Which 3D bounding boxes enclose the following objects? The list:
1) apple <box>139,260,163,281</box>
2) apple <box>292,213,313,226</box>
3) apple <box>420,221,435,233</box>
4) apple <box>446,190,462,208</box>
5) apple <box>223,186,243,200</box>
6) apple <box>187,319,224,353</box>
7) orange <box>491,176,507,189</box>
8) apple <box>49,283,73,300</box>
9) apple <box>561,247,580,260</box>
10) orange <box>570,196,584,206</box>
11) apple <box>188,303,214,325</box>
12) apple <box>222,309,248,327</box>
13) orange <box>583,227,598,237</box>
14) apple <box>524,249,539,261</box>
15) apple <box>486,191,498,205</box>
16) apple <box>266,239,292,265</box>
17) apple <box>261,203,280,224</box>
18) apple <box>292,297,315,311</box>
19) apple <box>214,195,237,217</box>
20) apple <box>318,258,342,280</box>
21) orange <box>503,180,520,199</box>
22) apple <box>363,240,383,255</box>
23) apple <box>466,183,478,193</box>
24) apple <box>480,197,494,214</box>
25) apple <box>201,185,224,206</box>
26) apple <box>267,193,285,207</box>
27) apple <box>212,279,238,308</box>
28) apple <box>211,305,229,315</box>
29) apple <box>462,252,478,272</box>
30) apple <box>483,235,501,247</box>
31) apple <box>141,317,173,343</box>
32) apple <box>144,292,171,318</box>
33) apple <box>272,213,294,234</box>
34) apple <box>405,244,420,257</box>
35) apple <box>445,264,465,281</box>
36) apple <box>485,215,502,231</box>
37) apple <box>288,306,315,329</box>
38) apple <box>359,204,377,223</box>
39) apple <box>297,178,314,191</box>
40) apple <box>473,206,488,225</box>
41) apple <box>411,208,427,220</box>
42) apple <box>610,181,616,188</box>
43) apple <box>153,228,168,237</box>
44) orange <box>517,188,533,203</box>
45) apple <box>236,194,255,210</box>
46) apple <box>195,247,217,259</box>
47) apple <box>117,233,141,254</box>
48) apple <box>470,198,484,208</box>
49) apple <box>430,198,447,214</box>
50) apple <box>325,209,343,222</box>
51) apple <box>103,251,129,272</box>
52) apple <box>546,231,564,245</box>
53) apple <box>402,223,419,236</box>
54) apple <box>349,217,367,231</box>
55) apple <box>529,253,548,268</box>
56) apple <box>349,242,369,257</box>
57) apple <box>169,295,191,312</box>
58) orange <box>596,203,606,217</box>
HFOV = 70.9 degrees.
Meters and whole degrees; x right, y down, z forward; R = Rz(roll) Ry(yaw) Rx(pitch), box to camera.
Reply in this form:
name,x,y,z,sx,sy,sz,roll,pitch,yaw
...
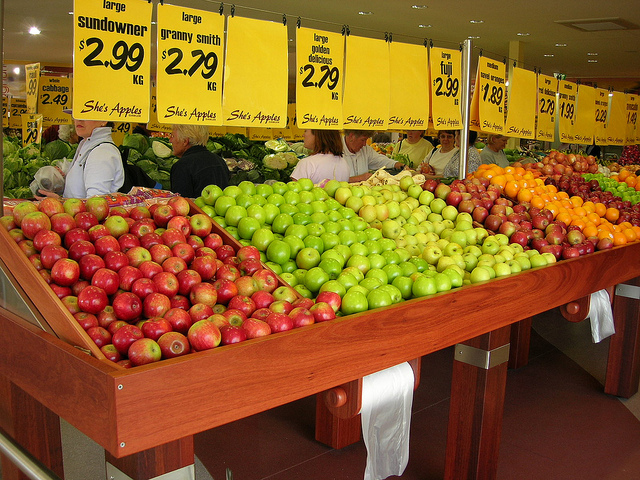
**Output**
name,x,y,z,sx,sy,sz,roll,pitch,yaw
apple,-0.596,0.106,1.634,0.062,0.068,0.067,14,-15,40
apple,-0.087,-0.103,2.249,0.066,0.072,0.067,-16,37,-40
apple,0.625,-0.082,2.646,0.058,0.079,0.064,-11,-3,3
apple,0.844,-0.264,2.865,0.080,0.095,0.087,-1,10,0
apple,-0.429,-0.227,2.225,0.065,0.091,0.069,-2,3,-10
apple,-0.341,0.274,1.356,0.077,0.091,0.099,-5,5,-21
orange,1.332,-0.437,3.391,0.079,0.089,0.098,24,-16,9
apple,-0.866,0.170,1.519,0.067,0.041,0.056,-4,12,-21
apple,1.476,0.084,2.692,0.071,0.080,0.075,-6,-5,-4
orange,1.945,-0.293,3.440,0.059,0.068,0.063,24,15,33
apple,-0.392,0.240,1.501,0.060,0.061,0.060,-35,23,-16
apple,-0.284,0.260,1.522,0.052,0.056,0.054,16,0,-6
orange,1.775,-0.056,3.004,0.067,0.078,0.075,0,39,3
apple,1.179,0.085,2.529,0.044,0.051,0.048,2,-18,-2
apple,1.163,-0.289,3.087,0.058,0.066,0.063,5,-18,-5
apple,-0.181,0.055,2.041,0.092,0.108,0.095,3,-2,26
apple,-0.238,-0.128,2.209,0.078,0.110,0.084,-1,-3,-7
apple,-0.061,0.233,1.669,0.042,0.046,0.045,1,3,19
apple,-0.458,-0.162,2.212,0.089,0.100,0.092,3,-2,-22
apple,0.050,0.121,1.965,0.076,0.105,0.083,-10,20,14
orange,1.384,-0.366,3.334,0.110,0.122,0.111,31,34,31
apple,0.263,0.033,2.216,0.065,0.087,0.066,9,-27,-35
apple,1.008,-0.365,3.024,0.057,0.063,0.059,10,31,23
apple,1.068,-0.220,2.907,0.079,0.118,0.090,-1,5,12
apple,-0.536,-0.226,2.240,0.097,0.105,0.094,-1,2,-40
apple,-0.224,-0.206,2.306,0.066,0.073,0.065,-2,12,-26
apple,-0.340,0.187,1.692,0.079,0.088,0.087,17,-21,17
apple,-0.358,0.247,1.613,0.032,0.033,0.034,24,30,22
apple,0.783,0.124,2.402,0.074,0.098,0.080,1,-25,-4
apple,0.969,-0.009,2.559,0.060,0.079,0.064,27,55,37
apple,-0.494,0.269,1.369,0.062,0.068,0.063,2,-2,-29
apple,-0.527,0.218,1.490,0.066,0.075,0.072,5,-10,0
apple,-0.184,-0.074,2.226,0.083,0.107,0.088,31,-26,8
apple,0.497,0.053,2.408,0.085,0.049,0.070,-9,15,-38
apple,0.653,0.148,2.184,0.068,0.095,0.075,2,-21,-4
apple,1.051,-0.106,2.765,0.082,0.092,0.082,-8,12,-30
apple,-0.062,0.263,1.534,0.060,0.069,0.065,8,-2,8
apple,0.262,-0.145,2.492,0.085,0.100,0.085,-1,2,-9
apple,-0.089,-0.321,2.569,0.069,0.075,0.074,-6,-3,10
apple,0.992,-0.158,2.816,0.082,0.096,0.089,-10,12,-6
apple,0.596,-0.155,2.728,0.063,0.037,0.063,4,24,-46
apple,2.618,-0.502,4.063,0.038,0.054,0.100,10,15,41
apple,-0.657,-0.038,1.859,0.032,0.036,0.033,16,-7,3
orange,1.441,-0.318,3.211,0.082,0.090,0.106,-7,42,-1
apple,-0.373,-0.190,2.208,0.067,0.076,0.073,1,10,-8
apple,-0.457,0.047,1.810,0.050,0.057,0.055,-1,3,5
apple,-0.714,0.008,1.691,0.062,0.070,0.068,15,44,3
apple,0.996,-0.236,2.865,0.057,0.064,0.061,5,11,26
apple,0.724,-0.215,2.813,0.079,0.108,0.089,2,-21,-2
apple,0.071,-0.136,2.364,0.075,0.069,0.067,26,19,29
apple,-0.715,0.073,1.595,0.065,0.073,0.068,1,2,39
apple,1.439,-0.016,2.789,0.082,0.087,0.084,3,42,-14
apple,0.506,-0.061,2.548,0.064,0.089,0.068,-3,0,-15
apple,0.202,-0.086,2.348,0.063,0.073,0.070,-1,5,-1
apple,1.165,0.112,2.433,0.064,0.076,0.081,1,-4,7
apple,0.183,0.044,2.151,0.057,0.075,0.061,4,-25,-11
apple,-0.483,0.218,1.574,0.048,0.054,0.051,0,9,-6
orange,2.101,-0.229,3.407,0.079,0.109,0.087,0,11,14
